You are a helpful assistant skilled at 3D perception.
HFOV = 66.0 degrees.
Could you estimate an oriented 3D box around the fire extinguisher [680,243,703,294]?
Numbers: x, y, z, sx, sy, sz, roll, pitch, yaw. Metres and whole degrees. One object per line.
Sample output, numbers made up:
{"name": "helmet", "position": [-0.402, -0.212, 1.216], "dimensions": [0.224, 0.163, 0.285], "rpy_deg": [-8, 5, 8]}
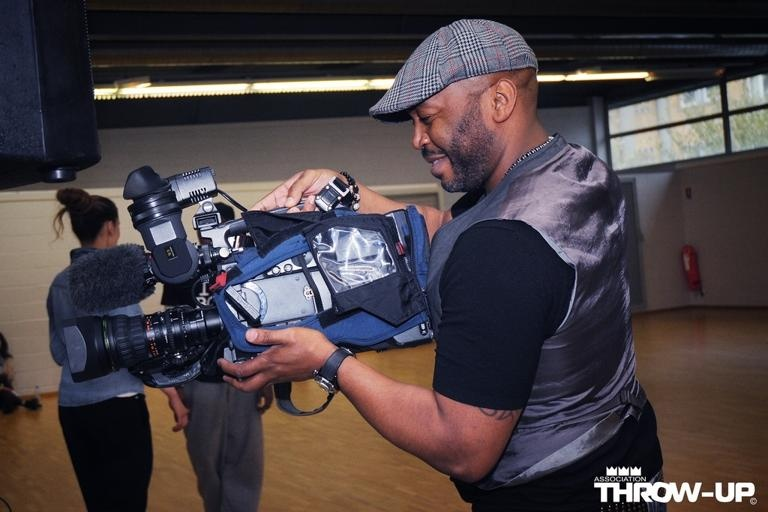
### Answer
{"name": "fire extinguisher", "position": [5.689, 0.240, 10.921], "dimensions": [0.188, 0.758, 0.395], "rpy_deg": [-3, -10, -40]}

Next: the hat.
{"name": "hat", "position": [0.225, -0.590, 1.837], "dimensions": [0.514, 0.252, 0.355], "rpy_deg": [-7, 3, 1]}
